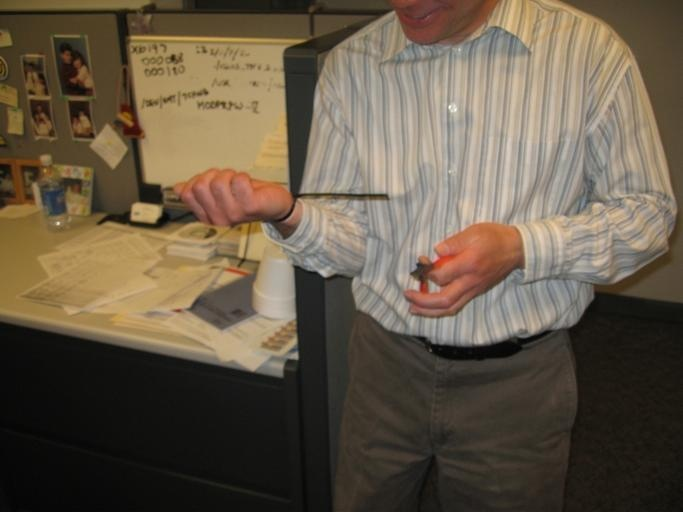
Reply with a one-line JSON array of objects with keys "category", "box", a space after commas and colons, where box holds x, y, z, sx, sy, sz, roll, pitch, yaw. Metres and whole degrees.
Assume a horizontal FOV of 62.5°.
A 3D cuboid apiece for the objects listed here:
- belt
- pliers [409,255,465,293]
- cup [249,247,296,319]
[{"category": "belt", "box": [0.295, 0.199, 1.184, 0.111, 0.029, 0.119, -5, 4, 3]}, {"category": "pliers", "box": [0.153, 0.020, 1.137, 0.125, 0.056, 0.184, 3, 20, -1]}, {"category": "cup", "box": [-0.171, 0.055, 1.558, 0.145, 0.184, 0.199, -3, 16, -10]}]
